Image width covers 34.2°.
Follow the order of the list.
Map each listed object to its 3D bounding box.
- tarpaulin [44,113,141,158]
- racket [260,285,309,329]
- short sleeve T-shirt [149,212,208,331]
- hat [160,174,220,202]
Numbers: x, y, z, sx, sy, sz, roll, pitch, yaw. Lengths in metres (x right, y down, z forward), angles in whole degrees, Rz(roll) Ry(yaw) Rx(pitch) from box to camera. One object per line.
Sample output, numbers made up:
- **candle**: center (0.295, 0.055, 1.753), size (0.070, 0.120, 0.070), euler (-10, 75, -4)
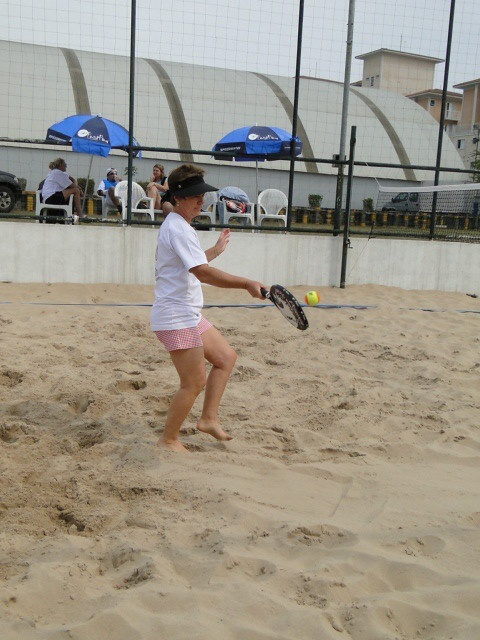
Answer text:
- **tarpaulin**: center (-2.037, -2.662, 11.035), size (1.357, 0.472, 1.283), euler (13, 17, -3)
- **racket**: center (0.235, -0.065, 3.945), size (0.181, 0.220, 0.344), euler (3, 12, -5)
- **short sleeve T-shirt**: center (-0.312, -0.227, 3.953), size (0.273, 0.612, 0.389), euler (3, 13, -6)
- **hat**: center (-0.267, -0.659, 3.962), size (0.210, 0.098, 0.151), euler (-20, 11, 15)
